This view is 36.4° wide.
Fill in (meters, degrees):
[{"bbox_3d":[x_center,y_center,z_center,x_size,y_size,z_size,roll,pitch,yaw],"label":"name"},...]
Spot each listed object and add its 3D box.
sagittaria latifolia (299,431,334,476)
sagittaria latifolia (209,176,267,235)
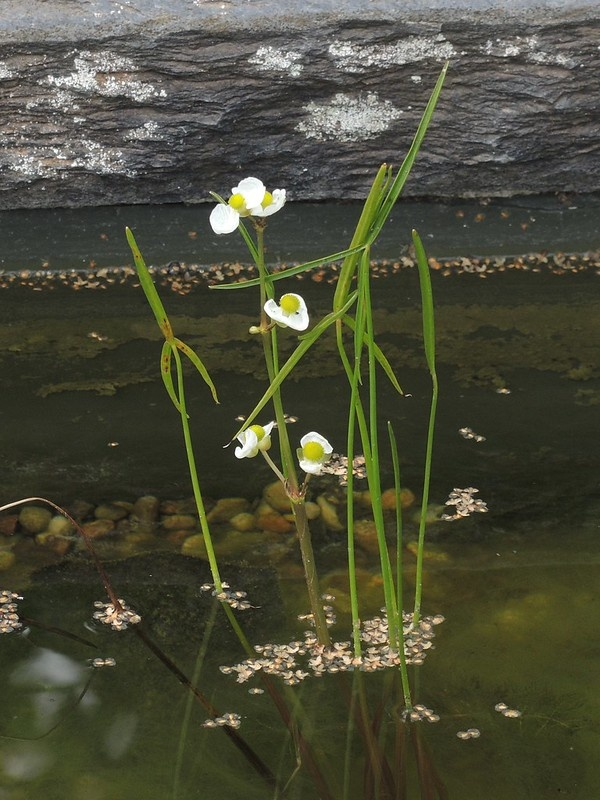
[{"bbox_3d":[0.019,0.078,1.297,0.058,0.060,0.024,-5,1,3],"label":"sagittaria latifolia"},{"bbox_3d":[-0.065,-0.248,1.216,0.091,0.032,0.060,-36,49,7],"label":"sagittaria latifolia"}]
